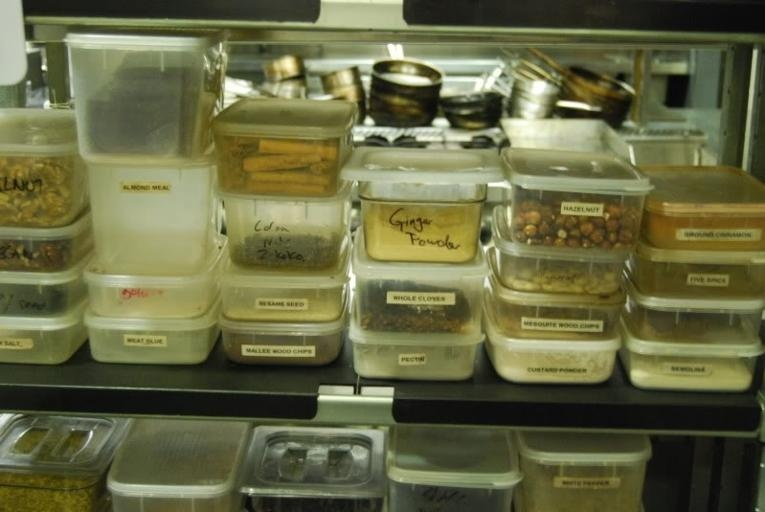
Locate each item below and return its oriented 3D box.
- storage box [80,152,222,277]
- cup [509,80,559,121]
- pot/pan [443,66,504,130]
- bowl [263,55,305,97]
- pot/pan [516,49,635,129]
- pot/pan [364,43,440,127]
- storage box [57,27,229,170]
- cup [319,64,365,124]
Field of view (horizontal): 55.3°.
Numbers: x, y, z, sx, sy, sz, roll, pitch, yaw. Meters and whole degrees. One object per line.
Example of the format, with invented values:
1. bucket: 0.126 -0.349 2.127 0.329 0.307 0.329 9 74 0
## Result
1. storage box: -0.653 -0.127 2.206 0.359 0.319 0.343 1 15 0
2. cup: 0.481 -0.502 2.338 0.144 0.115 0.118 -8 34 -19
3. pot/pan: 0.302 -0.499 2.318 0.210 0.134 0.170 5 26 28
4. bowl: -0.309 -0.566 2.316 0.143 0.124 0.109 -1 19 -3
5. pot/pan: 0.627 -0.533 2.366 0.313 0.185 0.090 8 -5 2
6. pot/pan: 0.072 -0.545 2.322 0.211 0.152 0.228 16 32 15
7. storage box: -0.577 -0.406 1.899 0.405 0.264 0.305 -1 20 -8
8. cup: -0.093 -0.533 2.406 0.161 0.214 0.140 -4 25 11
